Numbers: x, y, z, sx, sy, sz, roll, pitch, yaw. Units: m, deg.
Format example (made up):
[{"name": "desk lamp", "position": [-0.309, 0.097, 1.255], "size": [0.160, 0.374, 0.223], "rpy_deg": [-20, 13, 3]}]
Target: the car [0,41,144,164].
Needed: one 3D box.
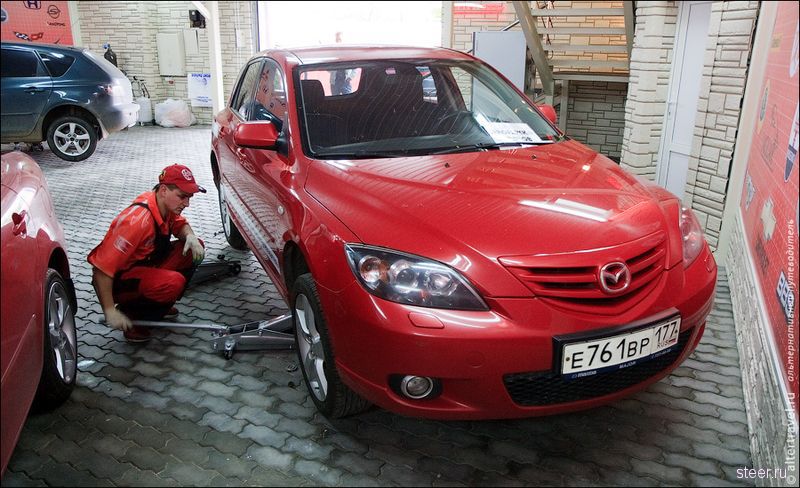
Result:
[{"name": "car", "position": [-6.515, -2.736, 8.442], "size": [2.111, 2.154, 0.864], "rpy_deg": [-17, 28, -37]}]

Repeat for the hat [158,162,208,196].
[{"name": "hat", "position": [-1.670, -0.515, 3.389], "size": [0.372, 0.179, 0.222], "rpy_deg": [7, 18, 2]}]

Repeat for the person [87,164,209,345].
[{"name": "person", "position": [-1.984, 0.037, 3.433], "size": [0.834, 1.281, 0.631], "rpy_deg": [-16, 27, -34]}]

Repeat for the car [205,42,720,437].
[{"name": "car", "position": [0.367, -0.133, 2.756], "size": [1.977, 2.170, 2.455], "rpy_deg": [-18, 27, -37]}]

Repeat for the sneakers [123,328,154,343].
[{"name": "sneakers", "position": [-2.063, 0.717, 3.404], "size": [0.223, 0.121, 0.109], "rpy_deg": [-3, 18, -3]}]
